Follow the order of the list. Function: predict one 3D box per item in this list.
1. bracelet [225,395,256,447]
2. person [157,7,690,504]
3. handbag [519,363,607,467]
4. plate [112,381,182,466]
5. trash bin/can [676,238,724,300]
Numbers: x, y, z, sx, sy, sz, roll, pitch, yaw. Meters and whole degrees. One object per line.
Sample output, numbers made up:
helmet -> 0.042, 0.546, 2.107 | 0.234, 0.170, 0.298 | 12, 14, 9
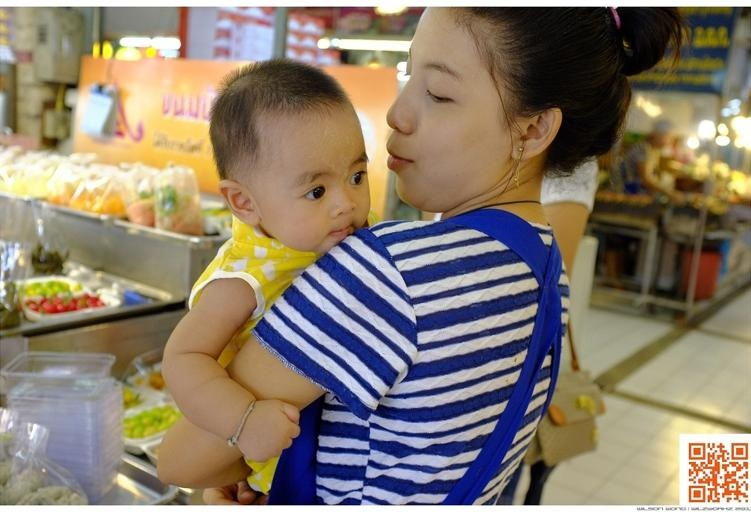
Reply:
bracelet -> -0.326, 0.401, 1.455 | 0.031, 0.101, 0.079 | 26, -4, 13
person -> 0.207, -0.031, 1.553 | 1.083, 1.406, 0.401 | 2, 11, -23
handbag -> 0.843, 0.722, 2.733 | 0.384, 0.362, 0.249 | 1, -4, -30
plate -> -0.994, 0.700, 2.560 | 0.258, 0.075, 0.387 | -2, 6, -29
trash bin/can -> 3.902, 0.253, 7.212 | 0.402, 0.618, 0.428 | 15, 13, 41
